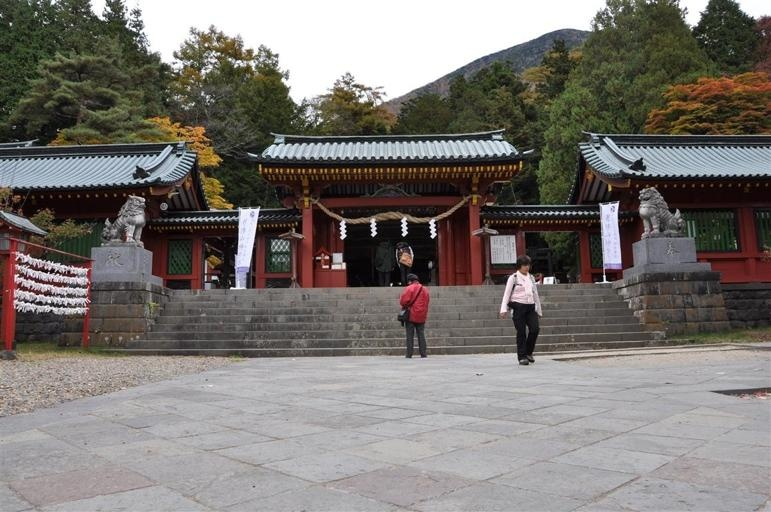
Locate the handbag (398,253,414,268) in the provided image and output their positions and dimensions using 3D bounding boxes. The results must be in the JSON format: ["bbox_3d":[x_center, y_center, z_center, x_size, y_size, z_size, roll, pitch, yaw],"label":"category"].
[{"bbox_3d":[0.535,0.157,16.568,0.409,0.359,0.152,-8,-3,-21],"label":"handbag"}]

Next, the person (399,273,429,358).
[{"bbox_3d":[0.594,1.275,12.704,0.596,1.716,1.095,-1,6,3],"label":"person"}]

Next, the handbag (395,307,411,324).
[{"bbox_3d":[0.350,1.260,12.417,0.223,0.375,0.314,-3,6,-14],"label":"handbag"}]

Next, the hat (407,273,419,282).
[{"bbox_3d":[0.572,0.441,12.807,0.264,0.105,0.337,0,-6,-1],"label":"hat"}]

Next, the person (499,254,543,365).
[{"bbox_3d":[2.410,0.991,10.879,0.683,1.933,0.827,0,6,12],"label":"person"}]
